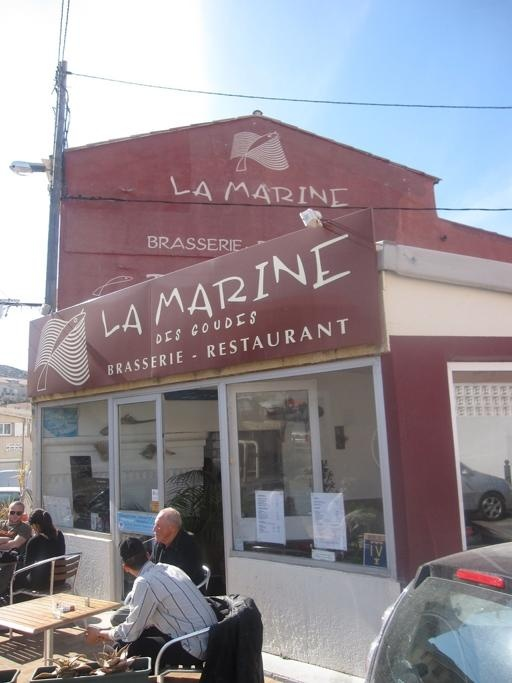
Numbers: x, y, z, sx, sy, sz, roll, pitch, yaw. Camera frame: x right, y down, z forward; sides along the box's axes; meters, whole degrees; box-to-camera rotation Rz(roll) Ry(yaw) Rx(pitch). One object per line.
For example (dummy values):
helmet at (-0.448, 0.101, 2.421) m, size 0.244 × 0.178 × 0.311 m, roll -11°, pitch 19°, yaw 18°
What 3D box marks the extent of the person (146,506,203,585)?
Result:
person at (-0.625, 1.650, 4.963) m, size 0.499 × 0.763 × 0.556 m, roll 5°, pitch -16°, yaw -26°
